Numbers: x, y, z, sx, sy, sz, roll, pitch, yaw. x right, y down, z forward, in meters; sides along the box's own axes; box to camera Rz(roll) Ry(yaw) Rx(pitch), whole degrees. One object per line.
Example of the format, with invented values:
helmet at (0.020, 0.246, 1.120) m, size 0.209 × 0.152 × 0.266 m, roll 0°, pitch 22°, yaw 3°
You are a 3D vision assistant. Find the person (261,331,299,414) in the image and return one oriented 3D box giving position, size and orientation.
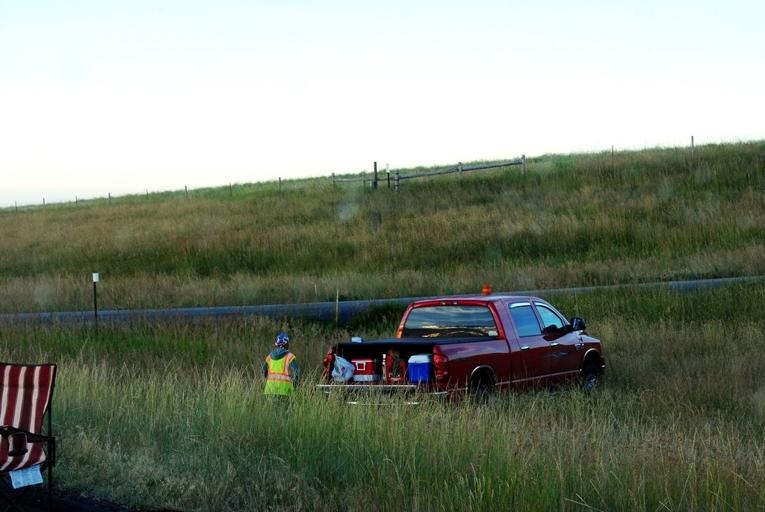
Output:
person at (-2.439, 2.855, 30.606) m, size 0.686 × 2.121 × 0.565 m, roll 7°, pitch 18°, yaw 12°

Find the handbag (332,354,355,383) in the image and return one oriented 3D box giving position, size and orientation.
handbag at (-0.906, 2.654, 30.285) m, size 0.487 × 0.666 × 0.309 m, roll 1°, pitch -11°, yaw -19°

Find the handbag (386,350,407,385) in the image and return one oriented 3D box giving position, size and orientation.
handbag at (0.328, 2.812, 30.316) m, size 0.562 × 0.630 × 1.015 m, roll 3°, pitch 43°, yaw -3°
